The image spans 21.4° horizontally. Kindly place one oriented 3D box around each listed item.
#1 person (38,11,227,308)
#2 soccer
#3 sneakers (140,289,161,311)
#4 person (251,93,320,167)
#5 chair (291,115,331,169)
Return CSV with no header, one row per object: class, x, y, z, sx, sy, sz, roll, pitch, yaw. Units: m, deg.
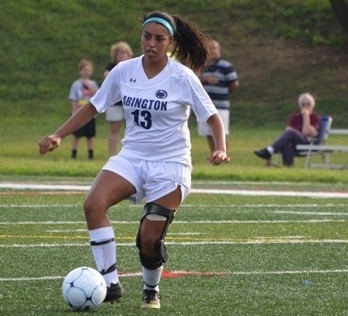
person,-0.265,-0.027,8.498,1.447,2.659,0.788,3,8,-5
soccer,-0.787,1.154,8.320,0.375,0.374,0.362,-2,15,9
sneakers,-0.214,1.291,8.356,0.123,0.128,0.315,1,-8,-6
person,1.419,-0.298,11.183,0.730,1.014,0.444,6,5,-42
chair,1.683,-0.224,11.217,0.490,0.657,0.471,-2,3,-24
